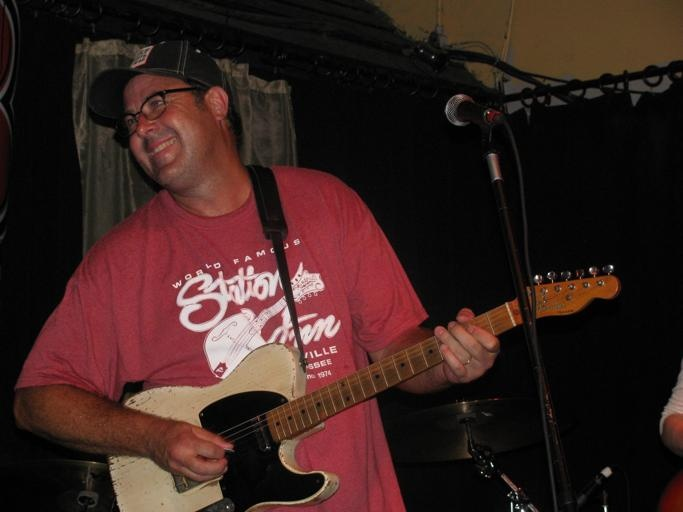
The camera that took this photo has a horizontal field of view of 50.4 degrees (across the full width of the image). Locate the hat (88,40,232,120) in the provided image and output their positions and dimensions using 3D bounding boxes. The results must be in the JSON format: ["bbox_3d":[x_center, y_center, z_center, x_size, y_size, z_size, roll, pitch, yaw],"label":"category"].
[{"bbox_3d":[-1.003,-0.974,3.990,0.658,0.356,0.417,11,-14,-27],"label":"hat"}]

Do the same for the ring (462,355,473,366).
[{"bbox_3d":[0.580,0.479,3.338,0.010,0.038,0.039,31,18,17],"label":"ring"}]

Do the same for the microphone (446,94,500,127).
[{"bbox_3d":[0.621,-0.696,3.486,0.135,0.148,0.250,22,1,-24],"label":"microphone"}]

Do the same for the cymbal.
[{"bbox_3d":[0.836,1.113,4.747,0.688,0.180,0.753,-5,-37,3],"label":"cymbal"}]
